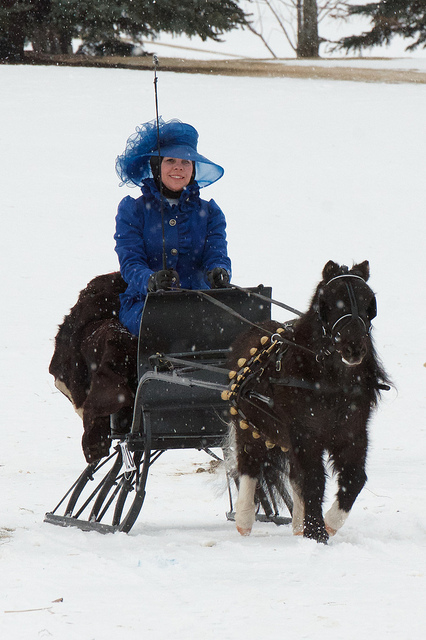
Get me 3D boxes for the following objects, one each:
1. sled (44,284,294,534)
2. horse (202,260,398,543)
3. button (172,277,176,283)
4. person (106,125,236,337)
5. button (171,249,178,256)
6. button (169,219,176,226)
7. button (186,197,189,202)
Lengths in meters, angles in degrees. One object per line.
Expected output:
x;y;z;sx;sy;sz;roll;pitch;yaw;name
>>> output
-0.279;0.662;10.009;1.545;1.867;1.884;2;0;-21;sled
0.578;0.593;9.114;0.638;1.992;1.360;-5;6;-41;horse
-0.274;-0.284;9.453;0.026;0.041;0.014;0;-2;-16;button
-0.339;-0.721;10.261;0.961;1.588;1.875;-2;4;-1;person
-0.300;-0.528;10.394;0.042;0.050;0.010;2;3;-12;button
-0.312;-0.758;10.385;0.041;0.049;0.013;1;1;-6;button
-0.196;-0.946;10.540;0.020;0.030;0.042;-1;4;0;button
